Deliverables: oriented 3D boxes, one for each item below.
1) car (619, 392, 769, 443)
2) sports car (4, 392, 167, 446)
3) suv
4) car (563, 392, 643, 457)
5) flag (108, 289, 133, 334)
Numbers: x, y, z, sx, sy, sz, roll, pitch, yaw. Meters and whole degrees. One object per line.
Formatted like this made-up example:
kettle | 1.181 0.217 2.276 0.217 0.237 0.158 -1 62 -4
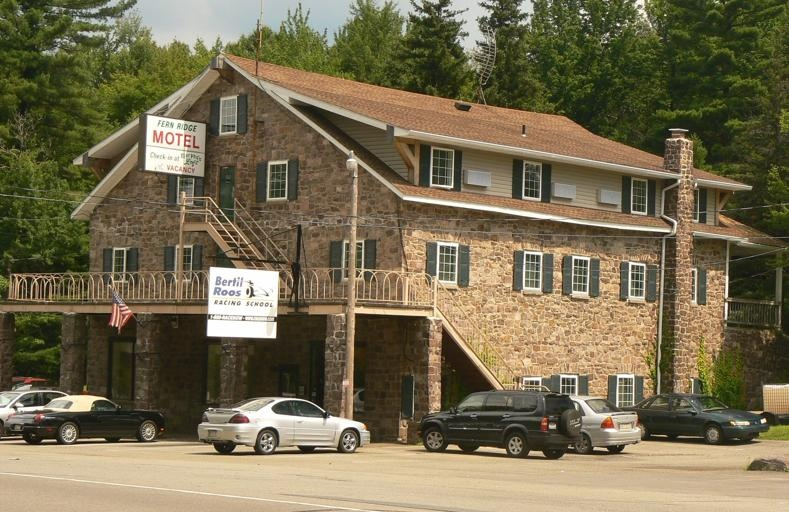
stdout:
car | 15.850 8.579 75.386 3.448 2.455 7.902 3 -5 -41
sports car | -15.478 8.243 71.782 6.248 1.862 3.052 1 -3 -30
suv | 5.316 8.113 68.889 6.497 2.597 3.172 2 -5 32
car | 11.716 8.452 70.940 3.044 3.018 6.535 0 0 -3
flag | -14.848 2.822 76.529 1.020 2.016 2.179 3 -9 -12
